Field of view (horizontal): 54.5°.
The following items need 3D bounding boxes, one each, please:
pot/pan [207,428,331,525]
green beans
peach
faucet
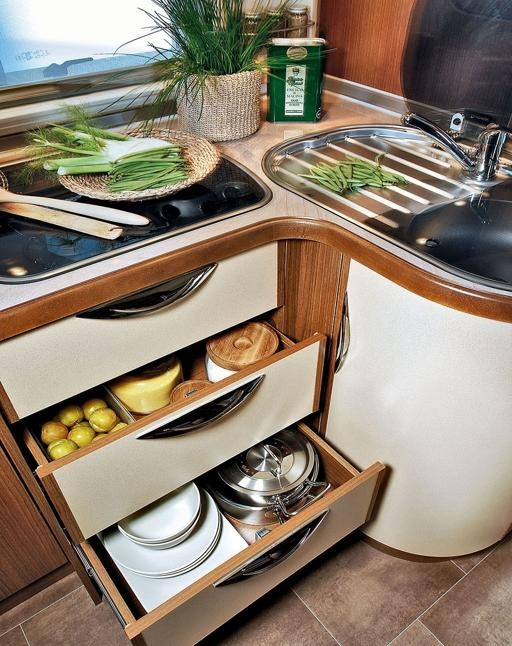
[{"bbox_3d":[0.029,0.343,1.083,0.210,0.171,0.207,-18,38,-24],"label":"pot/pan"},{"bbox_3d":[0.191,-0.289,0.982,0.170,0.023,0.129,-16,38,-20],"label":"green beans"},{"bbox_3d":[-0.286,0.175,0.819,0.104,0.039,0.108,32,42,33],"label":"peach"},{"bbox_3d":[0.377,-0.333,0.948,0.206,0.122,0.081,4,38,7],"label":"faucet"}]
